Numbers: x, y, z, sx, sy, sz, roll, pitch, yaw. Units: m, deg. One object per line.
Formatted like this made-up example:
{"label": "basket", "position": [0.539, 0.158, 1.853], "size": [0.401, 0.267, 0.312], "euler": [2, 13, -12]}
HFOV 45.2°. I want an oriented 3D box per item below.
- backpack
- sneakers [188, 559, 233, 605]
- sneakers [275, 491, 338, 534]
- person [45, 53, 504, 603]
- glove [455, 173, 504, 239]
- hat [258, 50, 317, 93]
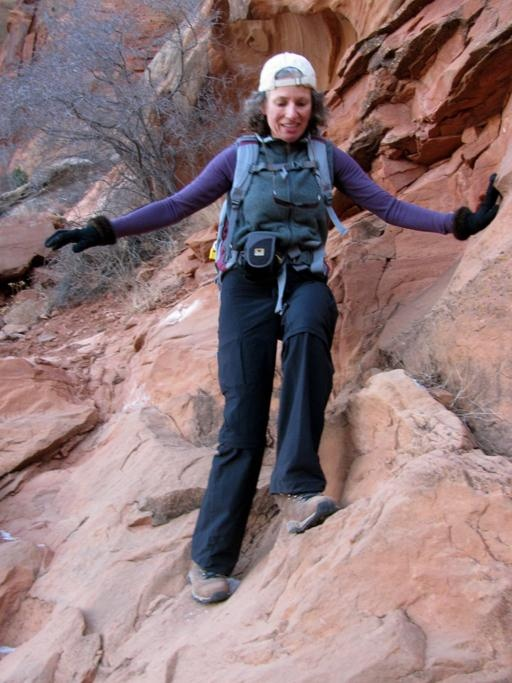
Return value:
{"label": "backpack", "position": [0.076, -0.600, 2.584], "size": [0.473, 0.529, 0.385], "euler": [-9, 15, -36]}
{"label": "sneakers", "position": [-0.167, 0.873, 2.306], "size": [0.169, 0.078, 0.255], "euler": [1, 10, -8]}
{"label": "sneakers", "position": [0.174, 0.576, 2.095], "size": [0.114, 0.081, 0.235], "euler": [-6, -5, -30]}
{"label": "person", "position": [-0.109, -0.144, 2.438], "size": [0.881, 2.055, 1.052], "euler": [2, 13, 5]}
{"label": "glove", "position": [0.904, -0.525, 2.471], "size": [0.170, 0.269, 0.108], "euler": [8, -21, 40]}
{"label": "hat", "position": [0.127, -1.136, 2.603], "size": [0.205, 0.114, 0.193], "euler": [-2, 24, -3]}
